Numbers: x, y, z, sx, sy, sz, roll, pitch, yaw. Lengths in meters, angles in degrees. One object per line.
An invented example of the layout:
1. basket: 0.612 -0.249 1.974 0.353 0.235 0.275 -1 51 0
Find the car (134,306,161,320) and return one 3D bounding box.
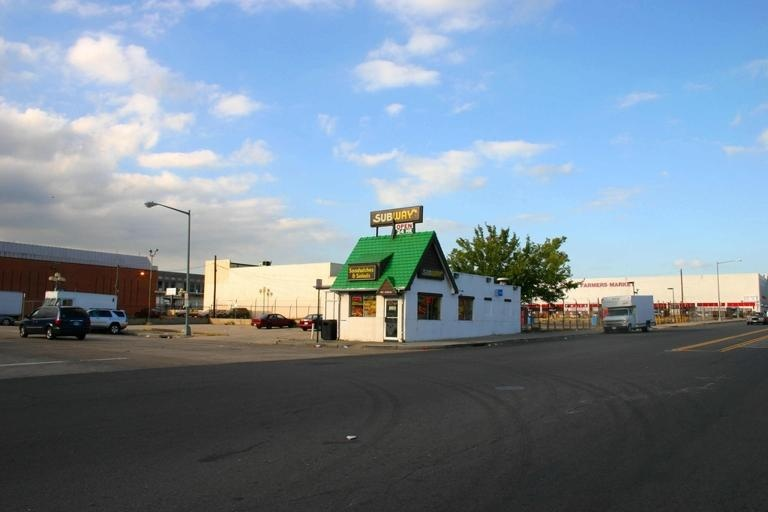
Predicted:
1. car: -31.482 7.534 81.881 1.296 1.047 2.365 -1 -2 17

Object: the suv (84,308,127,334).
1. suv: -20.063 4.723 44.917 1.912 1.716 2.728 1 -2 -6

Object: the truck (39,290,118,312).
1. truck: -24.472 3.548 50.435 4.775 2.356 2.840 2 -6 -33

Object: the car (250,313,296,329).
1. car: -10.452 5.974 57.048 2.747 1.201 4.007 -1 -2 38

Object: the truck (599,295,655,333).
1. truck: 21.182 5.075 54.635 2.853 2.922 5.789 -6 -9 41

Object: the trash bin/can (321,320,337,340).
1. trash bin/can: -3.535 4.538 37.768 1.103 1.565 1.099 -1 -4 11

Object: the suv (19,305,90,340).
1. suv: -18.570 3.700 35.045 3.902 1.380 2.020 1 -3 39
